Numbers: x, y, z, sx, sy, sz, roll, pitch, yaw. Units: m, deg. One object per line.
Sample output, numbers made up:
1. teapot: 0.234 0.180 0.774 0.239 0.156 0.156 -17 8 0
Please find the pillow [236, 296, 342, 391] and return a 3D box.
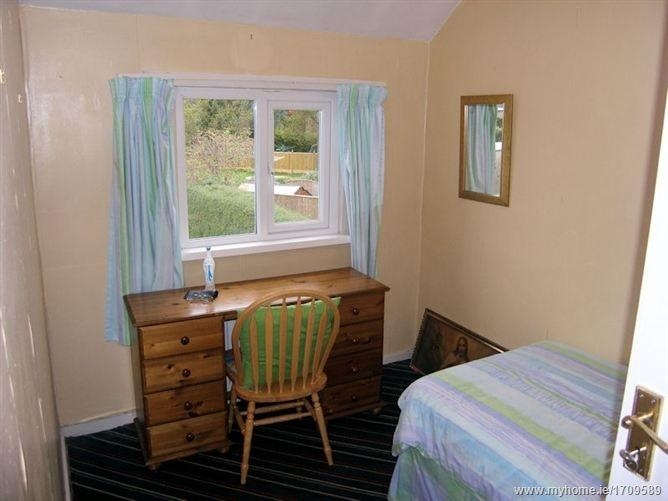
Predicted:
1. pillow: -0.260 0.493 2.754 0.502 0.450 0.175 -5 26 -28
